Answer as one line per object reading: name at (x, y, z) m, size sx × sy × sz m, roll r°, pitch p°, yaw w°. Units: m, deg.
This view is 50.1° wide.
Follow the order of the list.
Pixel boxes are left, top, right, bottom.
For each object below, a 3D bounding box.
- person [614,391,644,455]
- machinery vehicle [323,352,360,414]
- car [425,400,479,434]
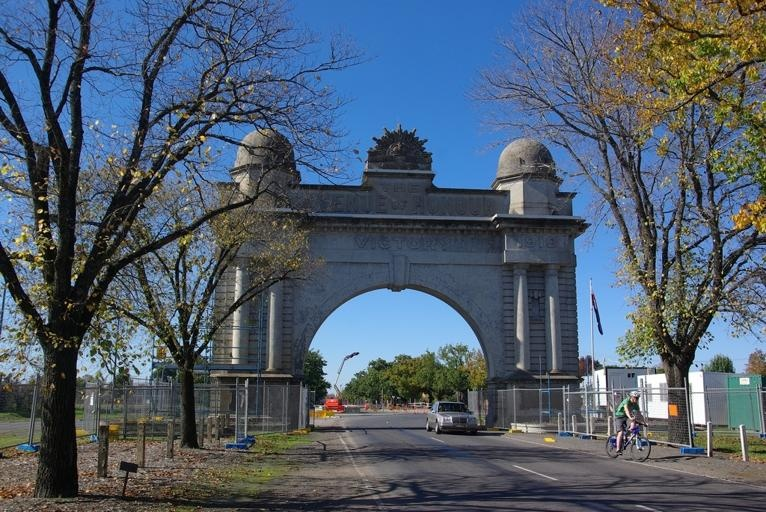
person at (9.357, 6.340, 31.356) m, size 0.984 × 2.371 × 1.351 m, roll -5°, pitch -13°, yaw 15°
machinery vehicle at (-6.084, 17.726, 115.013) m, size 2.425 × 8.363 × 5.828 m, roll 14°, pitch -4°, yaw 6°
car at (3.679, 9.090, 45.816) m, size 1.453 × 1.000 × 3.098 m, roll 2°, pitch -23°, yaw -5°
